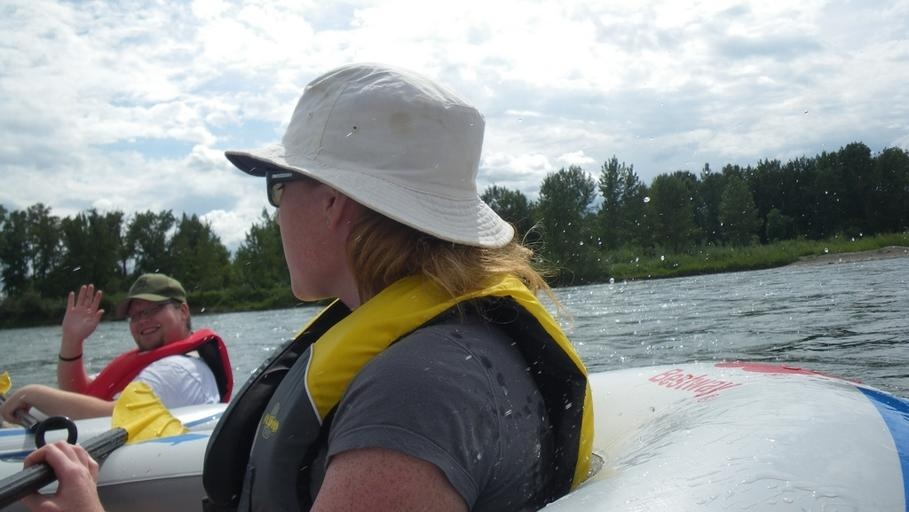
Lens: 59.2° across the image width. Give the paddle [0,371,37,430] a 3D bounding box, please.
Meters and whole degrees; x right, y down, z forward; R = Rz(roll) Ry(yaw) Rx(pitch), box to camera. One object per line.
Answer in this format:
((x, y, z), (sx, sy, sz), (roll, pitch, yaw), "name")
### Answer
((-11.317, 3.747, 20.713), (0.410, 1.452, 0.522), (-34, -11, -38), "paddle")
